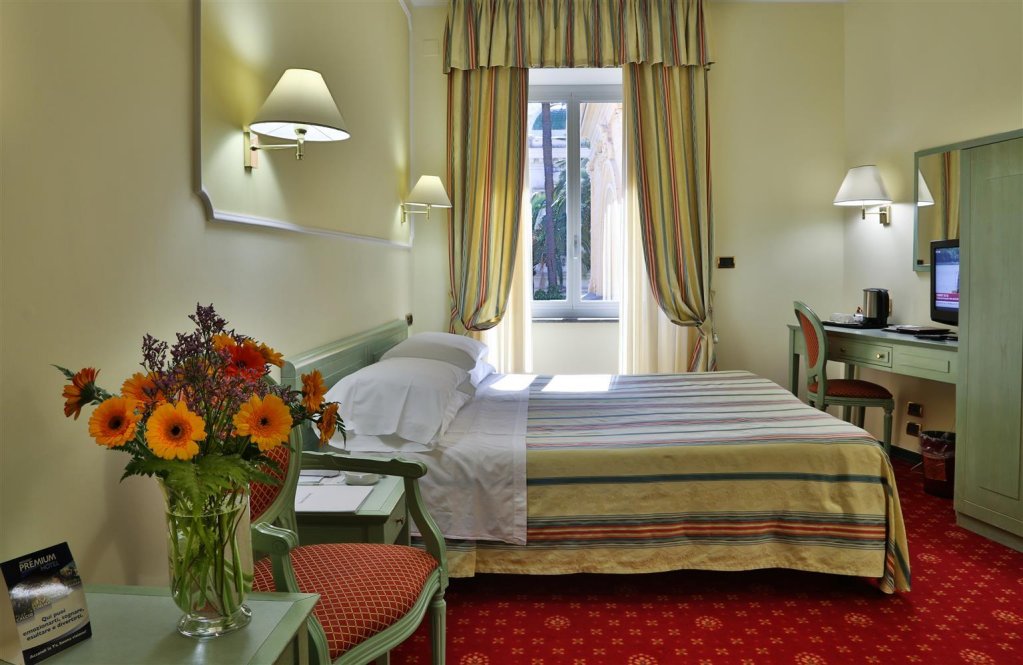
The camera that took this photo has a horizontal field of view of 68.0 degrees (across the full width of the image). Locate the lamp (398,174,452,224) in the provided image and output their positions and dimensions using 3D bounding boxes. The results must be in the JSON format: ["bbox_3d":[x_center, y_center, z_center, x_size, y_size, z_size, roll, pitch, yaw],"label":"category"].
[{"bbox_3d":[-0.615,-0.948,5.356,0.331,0.314,0.335,3,4,41],"label":"lamp"}]

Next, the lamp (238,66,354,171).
[{"bbox_3d":[-0.972,-0.951,3.427,0.417,0.450,0.453,-2,7,-4],"label":"lamp"}]

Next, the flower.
[{"bbox_3d":[-0.892,0.440,2.314,0.589,0.901,0.726,1,-2,13],"label":"flower"}]

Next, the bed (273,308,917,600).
[{"bbox_3d":[0.748,0.676,3.880,1.929,0.935,1.669,-2,12,1],"label":"bed"}]
